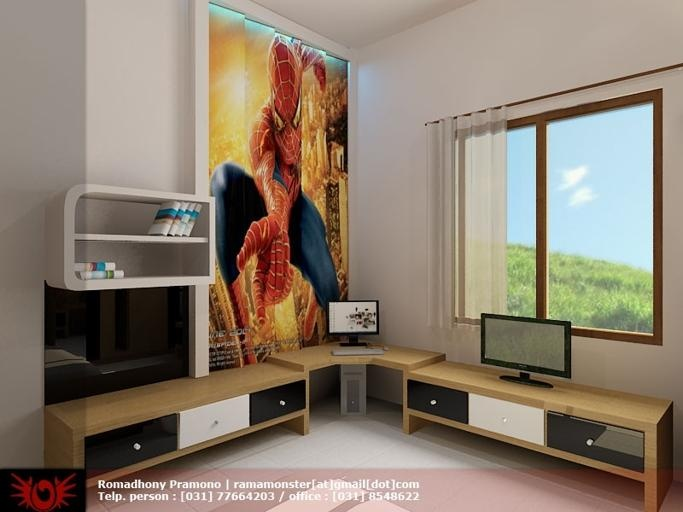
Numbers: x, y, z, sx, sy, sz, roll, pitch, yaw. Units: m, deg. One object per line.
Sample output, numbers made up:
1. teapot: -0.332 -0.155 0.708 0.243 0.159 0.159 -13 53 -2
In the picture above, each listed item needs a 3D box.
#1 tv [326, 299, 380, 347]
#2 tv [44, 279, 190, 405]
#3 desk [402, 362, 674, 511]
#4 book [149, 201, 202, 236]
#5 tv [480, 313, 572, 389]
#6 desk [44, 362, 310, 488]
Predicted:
1. tv: 0.092 0.567 4.315 0.350 0.339 0.132 0 -3 -3
2. tv: -1.382 0.526 3.054 0.233 0.636 0.726 -3 -3 38
3. desk: 1.259 1.105 3.334 1.551 0.510 0.395 5 7 36
4. book: -1.054 -0.242 3.194 0.152 0.165 0.117 6 -31 22
5. tv: 1.266 0.652 3.438 0.429 0.335 0.063 -2 -7 41
6. desk: -0.966 1.032 3.217 0.551 0.648 1.687 5 8 40
